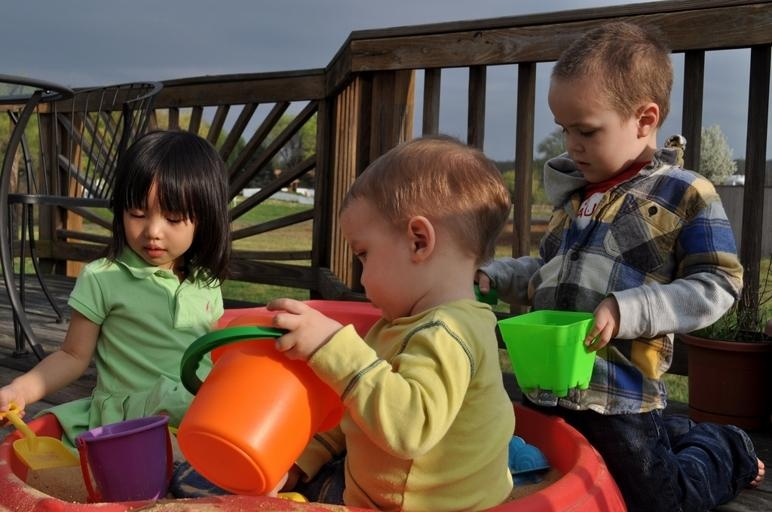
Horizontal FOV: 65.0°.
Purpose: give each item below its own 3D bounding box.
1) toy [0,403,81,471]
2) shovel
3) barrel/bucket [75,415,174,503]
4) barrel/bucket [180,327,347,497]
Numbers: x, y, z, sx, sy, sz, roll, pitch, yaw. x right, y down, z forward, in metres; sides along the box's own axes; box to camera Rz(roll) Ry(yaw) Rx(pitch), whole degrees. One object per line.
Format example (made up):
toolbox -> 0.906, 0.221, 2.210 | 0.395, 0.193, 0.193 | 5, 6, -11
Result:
toy -> -0.867, 0.450, 1.489 | 0.208, 0.127, 0.068 | 2, 1, 1
shovel -> -0.846, 0.471, 1.493 | 0.111, 0.044, 0.208 | -5, 45, -49
barrel/bucket -> -0.627, 0.467, 1.452 | 0.186, 0.166, 0.206 | -6, 2, 17
barrel/bucket -> -0.263, 0.335, 1.279 | 0.316, 0.325, 0.137 | 2, 1, 3
